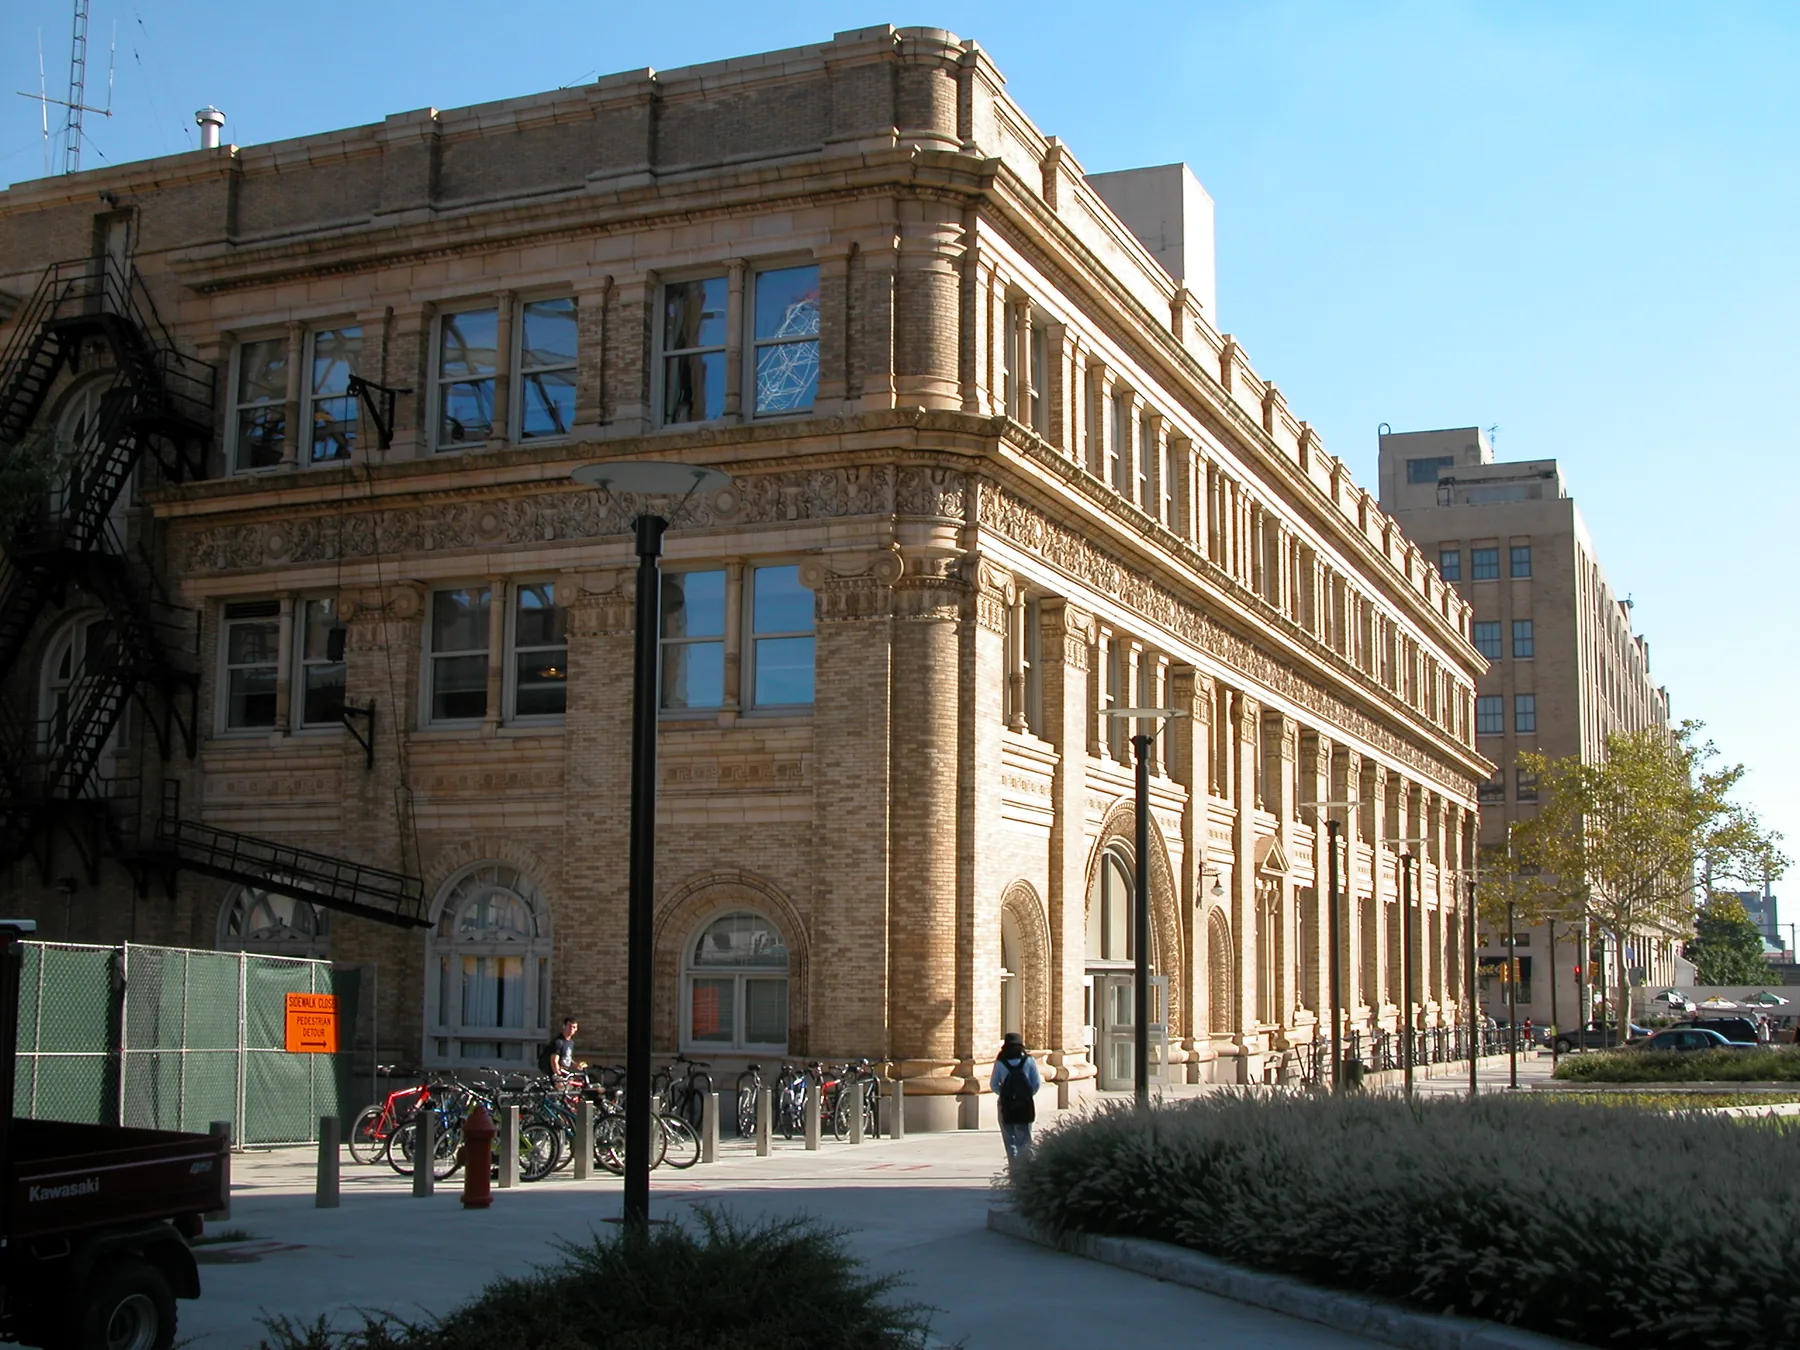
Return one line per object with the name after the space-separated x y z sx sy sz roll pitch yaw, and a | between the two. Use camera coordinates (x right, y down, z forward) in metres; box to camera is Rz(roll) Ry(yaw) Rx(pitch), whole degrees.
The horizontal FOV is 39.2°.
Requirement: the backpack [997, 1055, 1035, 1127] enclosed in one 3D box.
1.664 5.827 35.619 0.496 0.972 0.443 0 -15 -3 | backpack

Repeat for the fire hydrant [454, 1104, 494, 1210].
-5.597 6.386 33.561 0.395 1.400 0.697 2 -15 -11 | fire hydrant
